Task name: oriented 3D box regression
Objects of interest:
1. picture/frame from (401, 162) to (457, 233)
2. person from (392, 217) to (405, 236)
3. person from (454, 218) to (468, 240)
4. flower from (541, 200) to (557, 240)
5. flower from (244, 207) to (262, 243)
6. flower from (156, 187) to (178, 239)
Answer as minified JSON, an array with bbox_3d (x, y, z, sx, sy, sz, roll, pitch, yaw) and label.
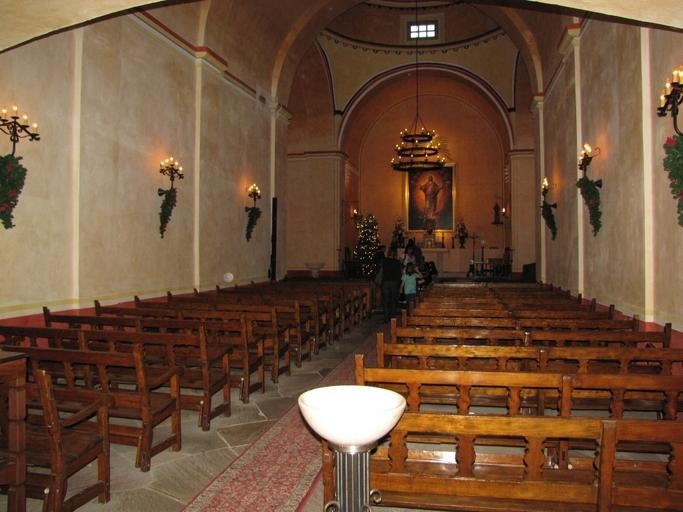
[{"bbox_3d":[3.674,-2.406,23.790,1.947,2.713,0.546,2,7,8],"label":"picture/frame"},{"bbox_3d":[2.351,-1.242,23.589,0.450,0.688,0.822,2,6,9],"label":"person"},{"bbox_3d":[4.878,-1.120,23.353,0.600,0.857,0.664,2,7,12],"label":"person"},{"bbox_3d":[4.547,-0.795,12.559,0.298,0.867,1.091,3,7,17],"label":"flower"},{"bbox_3d":[-2.145,-0.790,13.856,0.230,0.851,0.702,2,6,7],"label":"flower"},{"bbox_3d":[-3.180,-0.815,10.515,0.195,0.923,0.582,2,6,7],"label":"flower"}]
